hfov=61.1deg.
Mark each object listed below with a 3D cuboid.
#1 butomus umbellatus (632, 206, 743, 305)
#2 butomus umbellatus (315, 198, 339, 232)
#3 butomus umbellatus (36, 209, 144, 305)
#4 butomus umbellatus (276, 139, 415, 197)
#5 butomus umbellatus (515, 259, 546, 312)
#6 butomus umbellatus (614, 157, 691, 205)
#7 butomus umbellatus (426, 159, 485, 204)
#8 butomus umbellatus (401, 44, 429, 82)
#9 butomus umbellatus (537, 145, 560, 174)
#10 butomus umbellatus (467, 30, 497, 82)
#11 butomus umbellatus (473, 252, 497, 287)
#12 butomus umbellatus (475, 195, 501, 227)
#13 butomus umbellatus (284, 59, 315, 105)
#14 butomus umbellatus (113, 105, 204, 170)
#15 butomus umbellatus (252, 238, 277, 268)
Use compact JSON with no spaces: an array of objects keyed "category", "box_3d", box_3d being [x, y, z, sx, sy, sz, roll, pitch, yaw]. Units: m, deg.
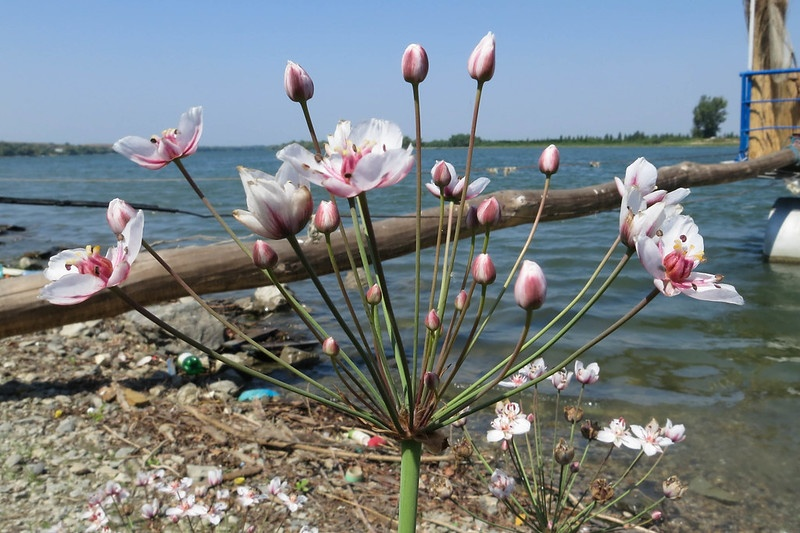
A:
[{"category":"butomus umbellatus","box_3d":[1.798,-0.042,4.279,0.624,0.277,0.554,29,30,36]},{"category":"butomus umbellatus","box_3d":[-0.469,-0.312,4.367,0.160,0.208,0.165,-5,20,-2]},{"category":"butomus umbellatus","box_3d":[-1.937,-0.027,4.332,0.684,0.647,0.493,-8,20,-11]},{"category":"butomus umbellatus","box_3d":[-0.300,-0.701,4.022,0.601,0.224,0.527,-16,32,-29]},{"category":"butomus umbellatus","box_3d":[0.822,0.140,4.276,0.181,0.379,0.240,0,20,10]},{"category":"butomus umbellatus","box_3d":[1.587,-0.520,4.333,0.379,0.241,0.350,25,10,30]},{"category":"butomus umbellatus","box_3d":[0.390,-0.582,4.601,0.310,0.329,0.393,13,26,39]},{"category":"butomus umbellatus","box_3d":[0.100,-1.290,4.365,0.148,0.246,0.176,-4,20,-1]},{"category":"butomus umbellatus","box_3d":[1.037,-0.729,4.728,0.141,0.242,0.216,0,20,12]},{"category":"butomus umbellatus","box_3d":[0.528,-1.330,4.378,0.164,0.309,0.242,-2,20,4]},{"category":"butomus umbellatus","box_3d":[0.540,0.028,4.414,0.151,0.232,0.223,-2,20,5]},{"category":"butomus umbellatus","box_3d":[0.589,-0.364,4.511,0.136,0.186,0.189,12,17,18]},{"category":"butomus umbellatus","box_3d":[-0.649,-1.162,4.319,0.157,0.271,0.200,-6,20,-5]},{"category":"butomus umbellatus","box_3d":[-1.566,-0.829,4.553,0.634,0.256,0.740,-28,14,-14]},{"category":"butomus umbellatus","box_3d":[-0.864,-0.071,4.313,0.150,0.206,0.115,-9,20,-13]}]
